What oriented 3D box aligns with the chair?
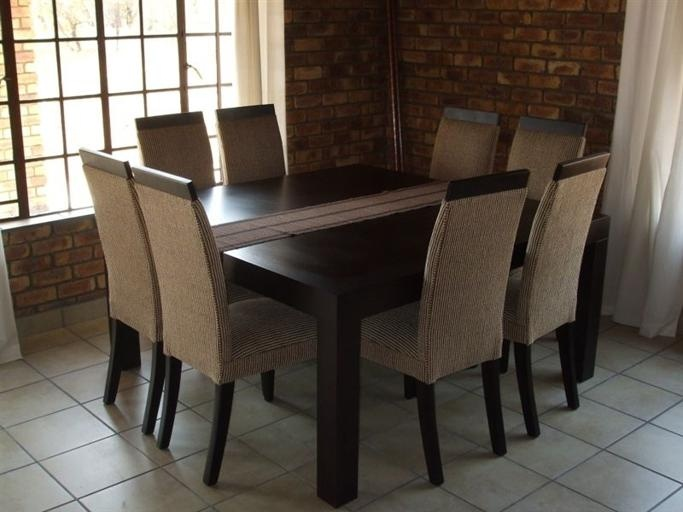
[{"bbox_3d":[0.005,0.214,2.500,1.695,0.838,1.143,-13,22,-36],"label":"chair"}]
